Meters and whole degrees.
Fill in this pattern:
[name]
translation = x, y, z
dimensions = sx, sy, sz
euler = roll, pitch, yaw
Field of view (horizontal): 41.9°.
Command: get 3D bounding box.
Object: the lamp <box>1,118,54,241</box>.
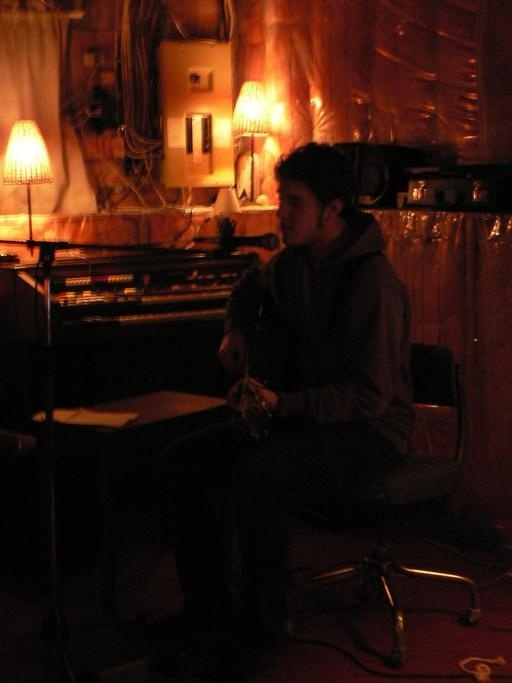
[lamp]
translation = -0.974, -0.684, 2.854
dimensions = 0.192, 0.490, 0.298
euler = -2, 3, -20

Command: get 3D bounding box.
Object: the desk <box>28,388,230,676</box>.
[desk]
translation = -0.342, 0.521, 1.798
dimensions = 0.283, 0.585, 0.578
euler = -1, -1, 36

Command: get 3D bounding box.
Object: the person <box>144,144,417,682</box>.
[person]
translation = 0.072, 0.125, 1.577
dimensions = 0.579, 1.173, 0.480
euler = 0, 3, 19
